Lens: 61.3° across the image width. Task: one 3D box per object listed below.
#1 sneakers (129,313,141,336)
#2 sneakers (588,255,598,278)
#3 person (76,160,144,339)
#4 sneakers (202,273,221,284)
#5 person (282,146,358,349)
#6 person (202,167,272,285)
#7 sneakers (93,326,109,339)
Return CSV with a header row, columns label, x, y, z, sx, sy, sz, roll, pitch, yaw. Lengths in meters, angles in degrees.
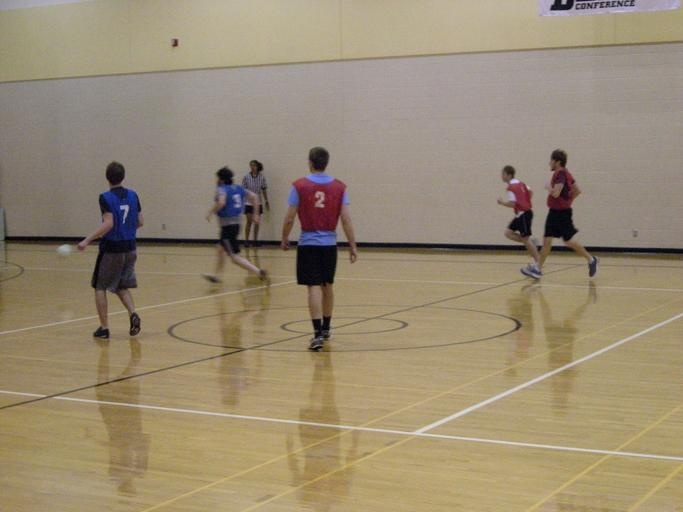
label,x,y,z,sx,sy,sz,roll,pitch,yaw
sneakers,-2.421,0.831,6.791,0.147,0.318,0.160,-4,22,-14
sneakers,4.607,0.202,10.582,0.183,0.388,0.141,-4,9,1
person,-2.715,-0.101,6.880,0.693,2.106,1.574,-4,6,-21
sneakers,-2.394,0.421,10.670,0.371,0.142,0.132,28,-9,-18
person,-0.220,-0.101,6.101,0.722,2.137,0.713,0,6,17
person,-1.994,-0.540,10.480,1.140,2.109,0.892,-1,6,8
sneakers,-2.833,0.906,6.805,0.105,0.082,0.219,-2,5,-39
